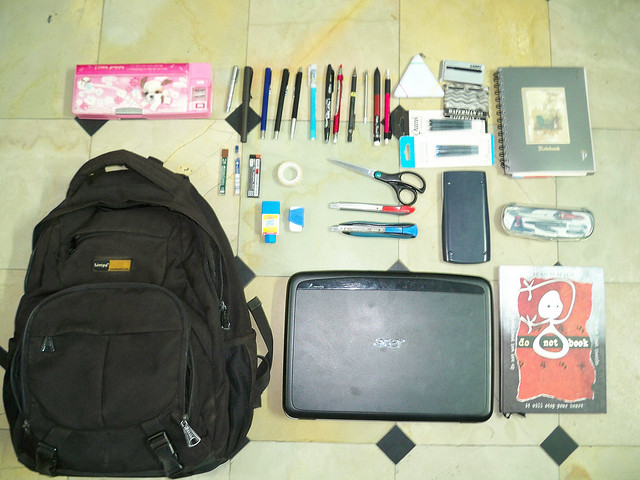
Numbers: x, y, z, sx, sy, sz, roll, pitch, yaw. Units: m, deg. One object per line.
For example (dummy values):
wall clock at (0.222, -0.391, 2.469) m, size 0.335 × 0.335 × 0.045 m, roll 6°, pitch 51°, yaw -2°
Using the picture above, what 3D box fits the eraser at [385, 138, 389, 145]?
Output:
eraser at (0.187, -0.277, 1.791) m, size 0.011 × 0.016 × 0.010 m, roll -2°, pitch 61°, yaw 1°

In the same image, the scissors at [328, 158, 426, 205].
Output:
scissors at (0.130, -0.187, 1.783) m, size 0.339 × 0.152 × 0.015 m, roll 14°, pitch 79°, yaw 7°

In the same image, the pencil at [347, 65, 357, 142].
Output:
pencil at (0.089, -0.383, 1.785) m, size 0.019 × 0.013 × 0.201 m, roll 4°, pitch 83°, yaw 2°

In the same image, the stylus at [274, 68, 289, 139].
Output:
stylus at (-0.107, -0.395, 1.795) m, size 0.027 × 0.018 × 0.221 m, roll 6°, pitch 87°, yaw -5°

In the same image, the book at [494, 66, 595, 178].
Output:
book at (0.626, -0.335, 1.796) m, size 0.259 × 0.136 × 0.282 m, roll -1°, pitch 61°, yaw 1°

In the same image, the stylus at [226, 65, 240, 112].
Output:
stylus at (-0.247, -0.435, 1.800) m, size 0.021 × 0.021 × 0.155 m, roll 13°, pitch 80°, yaw 8°

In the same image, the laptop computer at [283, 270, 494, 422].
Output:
laptop computer at (0.181, 0.277, 1.727) m, size 0.575 × 0.151 × 0.431 m, roll 3°, pitch 83°, yaw 0°

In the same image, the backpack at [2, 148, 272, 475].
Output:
backpack at (-0.457, 0.203, 1.572) m, size 0.658 × 0.241 × 0.827 m, roll -1°, pitch 84°, yaw 2°

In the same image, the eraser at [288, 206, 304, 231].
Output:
eraser at (-0.066, -0.057, 1.754) m, size 0.044 × 0.018 × 0.062 m, roll 0°, pitch 86°, yaw -1°

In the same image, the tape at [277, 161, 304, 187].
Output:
tape at (-0.083, -0.185, 1.773) m, size 0.071 × 0.039 × 0.070 m, roll 12°, pitch 63°, yaw 8°
